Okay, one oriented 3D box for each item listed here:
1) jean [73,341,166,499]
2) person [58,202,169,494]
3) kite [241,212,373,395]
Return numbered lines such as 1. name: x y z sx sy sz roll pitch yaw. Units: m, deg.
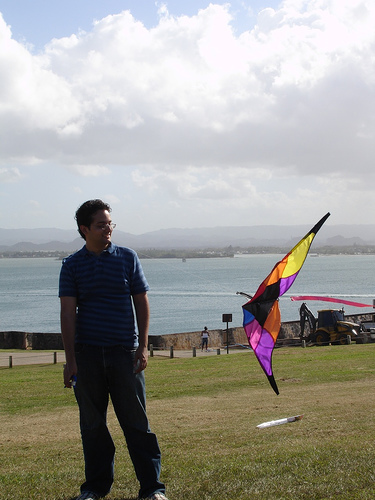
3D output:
1. jean: -0.548 1.337 4.490 0.690 1.268 0.361 -2 -3 -4
2. person: -0.617 0.760 4.490 0.774 2.309 0.408 -2 -3 -12
3. kite: 1.461 0.606 8.343 2.127 2.237 1.367 10 13 -41
